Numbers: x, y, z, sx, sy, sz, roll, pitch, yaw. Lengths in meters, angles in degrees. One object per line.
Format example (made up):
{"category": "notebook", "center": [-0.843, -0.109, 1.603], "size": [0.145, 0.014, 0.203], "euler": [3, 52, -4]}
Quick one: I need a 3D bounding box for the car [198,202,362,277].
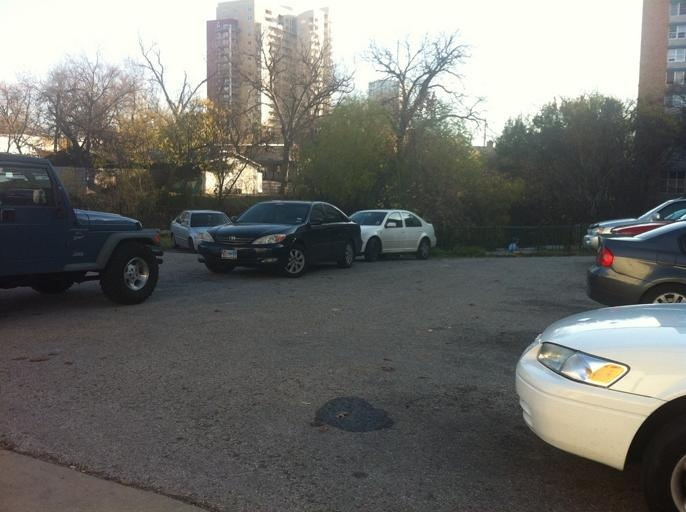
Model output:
{"category": "car", "center": [-1.461, -0.451, 14.158], "size": [1.842, 1.844, 4.085], "euler": [8, 10, 39]}
